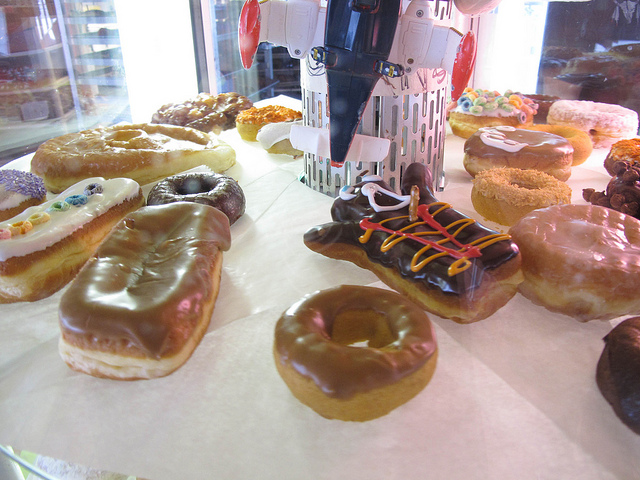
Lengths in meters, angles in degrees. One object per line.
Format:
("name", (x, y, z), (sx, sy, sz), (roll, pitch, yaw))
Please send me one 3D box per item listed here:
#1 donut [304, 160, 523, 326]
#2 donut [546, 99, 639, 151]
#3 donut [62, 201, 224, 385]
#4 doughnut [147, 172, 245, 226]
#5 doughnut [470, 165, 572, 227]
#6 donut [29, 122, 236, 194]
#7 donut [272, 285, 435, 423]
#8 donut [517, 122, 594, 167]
("donut", (0.214, 0.037, 0.991), (0.307, 0.124, 0.363), (-31, 45, -28))
("donut", (0.942, -0.399, 1.693), (0.256, 0.098, 0.257), (-18, 32, -34))
("donut", (-0.334, 0.097, 0.976), (0.222, 0.121, 0.334), (12, 53, 2))
("doughnut", (-0.324, -0.132, 1.279), (0.188, 0.067, 0.191), (24, 38, 29))
("doughnut", (0.489, -0.145, 1.176), (0.187, 0.071, 0.193), (-5, 23, -9))
("donut", (-0.621, -0.283, 1.516), (0.409, 0.102, 0.385), (4, 19, 4))
("donut", (0.061, 0.195, 0.827), (0.269, 0.128, 0.210), (-3, 28, -9))
("donut", (0.796, -0.311, 1.560), (0.233, 0.080, 0.213), (-11, 31, 2))
